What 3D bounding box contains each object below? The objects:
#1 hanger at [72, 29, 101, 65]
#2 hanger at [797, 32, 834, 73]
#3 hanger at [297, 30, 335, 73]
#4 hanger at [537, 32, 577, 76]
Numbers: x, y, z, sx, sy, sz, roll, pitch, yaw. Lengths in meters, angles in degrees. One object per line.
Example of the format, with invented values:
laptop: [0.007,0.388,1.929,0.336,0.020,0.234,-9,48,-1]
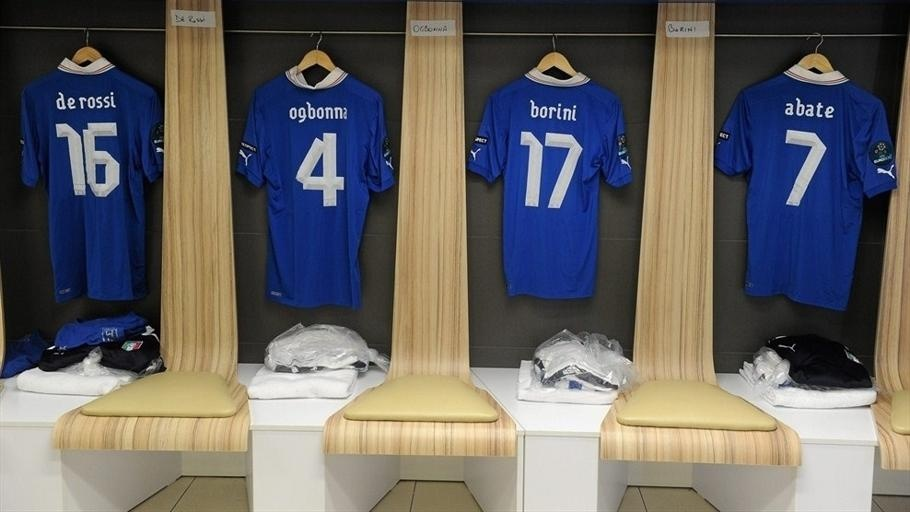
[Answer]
hanger: [-2.592,-1.474,4.965,0.316,0.277,0.016,0,0,-5]
hanger: [2.522,-1.412,4.905,0.330,0.223,0.011,11,-1,26]
hanger: [-0.959,-1.429,4.934,0.366,0.235,0.008,8,11,22]
hanger: [0.696,-1.399,4.877,0.016,0.295,0.360,-28,32,-35]
